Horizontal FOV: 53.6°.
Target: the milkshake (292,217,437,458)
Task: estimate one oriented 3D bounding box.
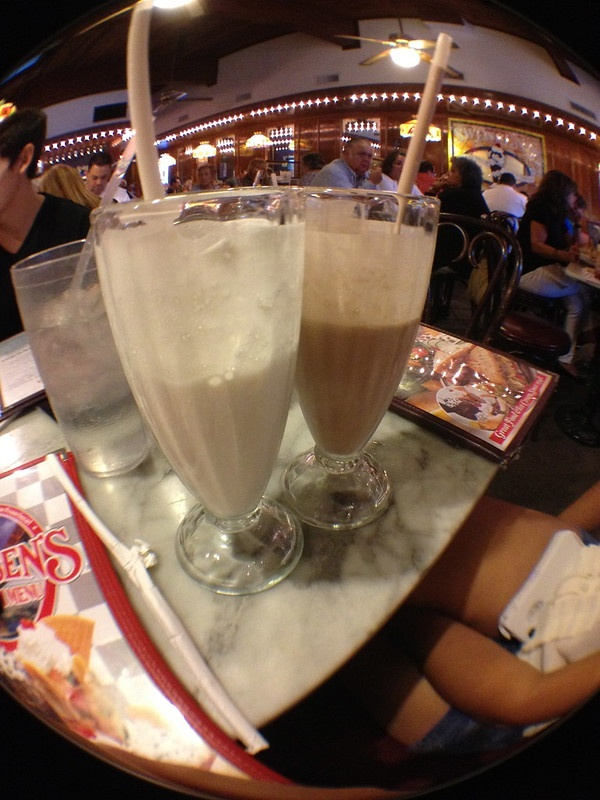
[{"bbox_3d":[0.038,-0.032,0.415,0.079,0.190,0.045,4,44,3],"label":"milkshake"}]

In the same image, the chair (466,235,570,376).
[{"bbox_3d":[0.209,-0.111,0.608,0.107,0.136,0.103,20,56,24],"label":"chair"}]

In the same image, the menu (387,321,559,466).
[{"bbox_3d":[0.150,-0.006,0.543,0.136,0.027,0.133,22,49,27],"label":"menu"}]
